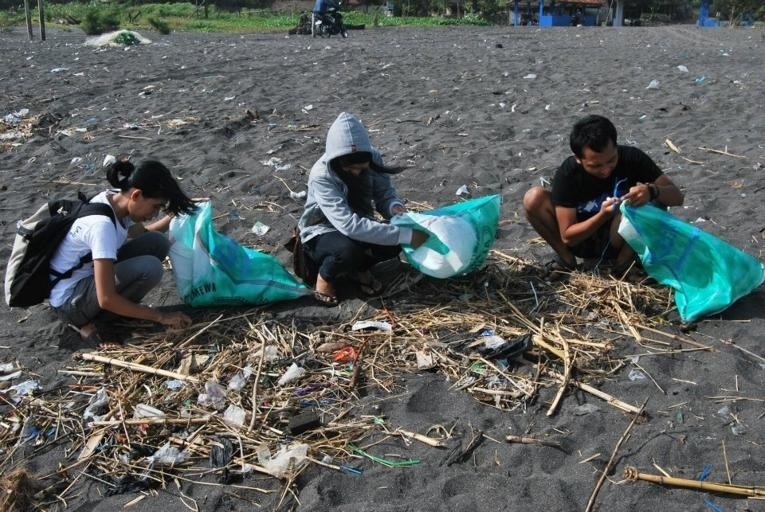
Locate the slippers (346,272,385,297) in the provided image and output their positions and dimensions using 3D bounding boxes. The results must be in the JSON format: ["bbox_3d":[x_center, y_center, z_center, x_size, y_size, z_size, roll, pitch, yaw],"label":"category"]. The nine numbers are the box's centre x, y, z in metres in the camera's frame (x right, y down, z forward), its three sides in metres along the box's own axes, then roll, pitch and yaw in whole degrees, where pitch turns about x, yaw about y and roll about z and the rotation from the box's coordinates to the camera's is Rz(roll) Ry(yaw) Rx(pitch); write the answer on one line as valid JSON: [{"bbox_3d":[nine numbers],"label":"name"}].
[{"bbox_3d":[-0.105,0.188,4.062,0.139,0.058,0.270,-32,43,-26],"label":"slippers"}]

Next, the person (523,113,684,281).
[{"bbox_3d":[1.495,-0.403,3.878,0.989,1.120,0.365,12,31,20],"label":"person"}]

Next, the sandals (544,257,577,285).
[{"bbox_3d":[1.323,0.130,4.124,0.217,0.063,0.207,5,35,45],"label":"sandals"}]

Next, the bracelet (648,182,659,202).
[{"bbox_3d":[1.799,-0.422,3.699,0.057,0.100,0.102,-26,-7,20],"label":"bracelet"}]

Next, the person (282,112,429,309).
[{"bbox_3d":[-0.196,-0.347,3.967,0.826,1.261,0.663,-9,30,-18],"label":"person"}]

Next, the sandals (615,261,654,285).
[{"bbox_3d":[1.785,0.123,3.945,0.212,0.044,0.182,5,29,13],"label":"sandals"}]

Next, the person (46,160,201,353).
[{"bbox_3d":[-1.599,-0.034,3.949,0.990,1.159,1.236,20,21,31],"label":"person"}]
